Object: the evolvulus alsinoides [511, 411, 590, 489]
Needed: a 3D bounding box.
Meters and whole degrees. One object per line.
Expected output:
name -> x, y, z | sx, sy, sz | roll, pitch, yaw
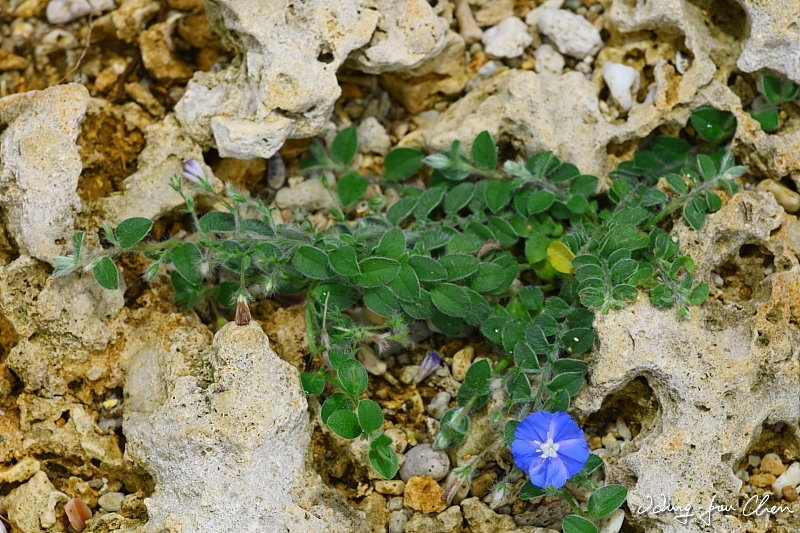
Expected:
evolvulus alsinoides -> 0.635, 0.783, 4.191 | 0.306, 0.112, 0.385 | 3, 49, 14
